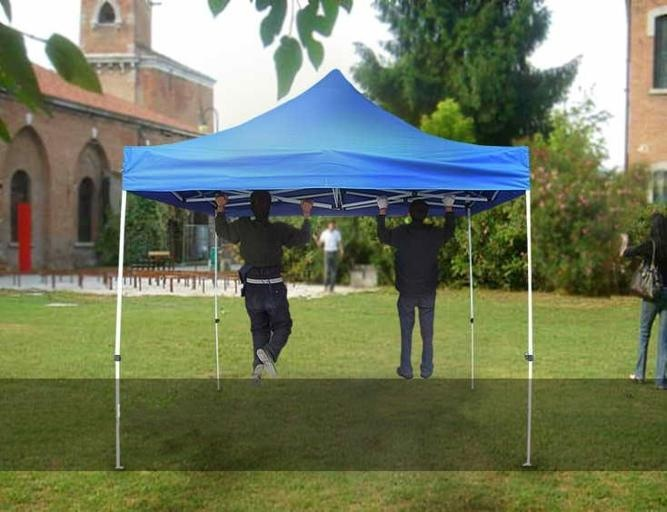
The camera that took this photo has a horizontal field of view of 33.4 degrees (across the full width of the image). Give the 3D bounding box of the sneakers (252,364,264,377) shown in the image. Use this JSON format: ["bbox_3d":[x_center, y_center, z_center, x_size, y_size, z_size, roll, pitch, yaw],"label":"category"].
[{"bbox_3d":[-1.269,1.898,18.415,0.150,0.218,0.111,5,1,19],"label":"sneakers"}]

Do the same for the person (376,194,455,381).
[{"bbox_3d":[1.421,0.611,19.343,1.323,3.277,0.833,0,10,3],"label":"person"}]

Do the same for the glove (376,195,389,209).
[{"bbox_3d":[0.864,-0.952,19.275,0.171,0.211,0.212,-4,-40,-12],"label":"glove"}]

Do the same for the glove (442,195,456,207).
[{"bbox_3d":[2.004,-0.975,19.397,0.196,0.204,0.137,4,14,4],"label":"glove"}]

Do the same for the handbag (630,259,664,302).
[{"bbox_3d":[5.592,0.455,19.882,0.542,0.672,0.273,4,12,24],"label":"handbag"}]
